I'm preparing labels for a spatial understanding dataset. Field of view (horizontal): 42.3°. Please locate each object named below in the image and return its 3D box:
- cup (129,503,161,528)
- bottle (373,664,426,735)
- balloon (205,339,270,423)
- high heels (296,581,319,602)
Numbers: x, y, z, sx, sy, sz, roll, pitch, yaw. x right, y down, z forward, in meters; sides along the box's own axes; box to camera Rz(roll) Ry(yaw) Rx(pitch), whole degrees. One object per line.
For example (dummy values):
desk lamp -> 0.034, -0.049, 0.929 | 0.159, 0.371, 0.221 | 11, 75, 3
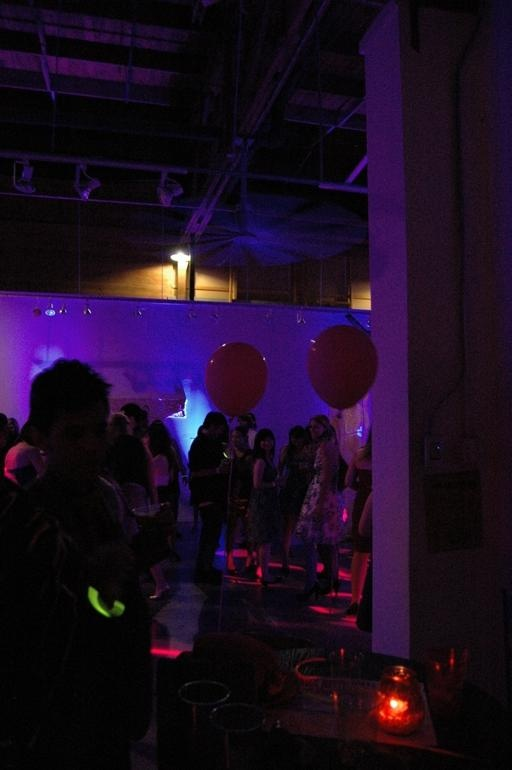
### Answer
cup -> -0.409, 0.480, 2.474 | 0.105, 0.054, 0.087 | 0, 0, -12
bottle -> 0.272, 0.599, 1.260 | 0.086, 0.105, 0.098 | 1, -13, 3
balloon -> -0.077, -0.011, 3.497 | 0.321, 0.462, 0.345 | 3, -9, 1
high heels -> 0.346, 1.336, 4.259 | 0.149, 0.079, 0.082 | -20, -2, 26
